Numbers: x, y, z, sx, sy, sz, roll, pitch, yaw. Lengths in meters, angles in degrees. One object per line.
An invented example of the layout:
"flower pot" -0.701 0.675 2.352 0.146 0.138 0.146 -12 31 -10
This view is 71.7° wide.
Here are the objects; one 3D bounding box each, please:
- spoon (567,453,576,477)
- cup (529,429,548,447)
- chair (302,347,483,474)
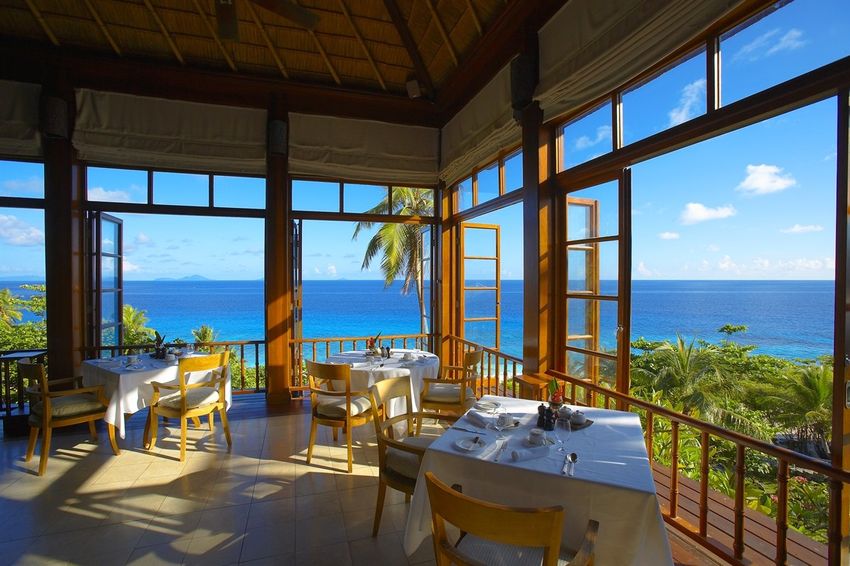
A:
"spoon" 1.502 1.822 5.970 0.083 0.175 0.181 0 -2 15
"cup" 1.209 1.623 6.235 0.174 0.160 0.133 -7 1 -30
"chair" -0.483 1.562 8.135 1.967 1.139 1.330 -7 9 -45
